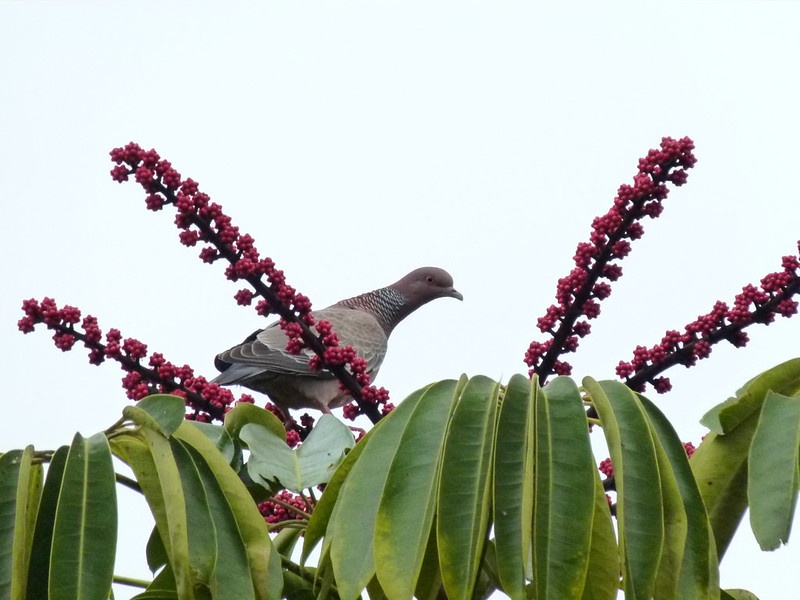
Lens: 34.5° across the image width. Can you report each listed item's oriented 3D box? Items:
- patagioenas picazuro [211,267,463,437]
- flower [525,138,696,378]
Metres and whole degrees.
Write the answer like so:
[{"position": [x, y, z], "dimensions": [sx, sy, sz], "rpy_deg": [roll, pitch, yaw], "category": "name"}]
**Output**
[{"position": [-0.465, 0.262, 8.231], "dimensions": [1.710, 1.108, 0.565], "rpy_deg": [6, -3, -18], "category": "patagioenas picazuro"}, {"position": [0.729, -0.111, 4.215], "dimensions": [0.152, 0.139, 0.910], "rpy_deg": [31, -82, 5], "category": "flower"}]
